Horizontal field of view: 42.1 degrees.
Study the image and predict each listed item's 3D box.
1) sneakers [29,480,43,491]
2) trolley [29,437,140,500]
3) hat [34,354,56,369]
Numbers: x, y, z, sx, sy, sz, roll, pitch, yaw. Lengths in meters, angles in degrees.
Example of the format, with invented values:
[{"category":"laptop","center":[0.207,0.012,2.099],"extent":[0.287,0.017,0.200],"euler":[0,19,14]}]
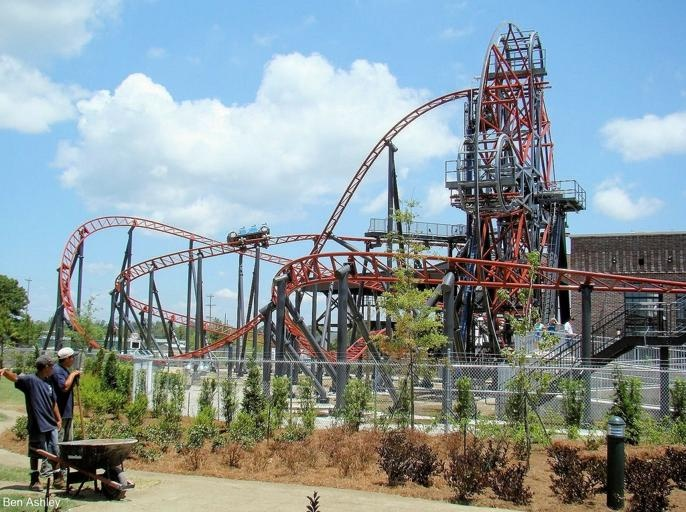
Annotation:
[{"category":"sneakers","center":[-5.933,4.362,17.033],"extent":[0.333,0.249,0.114],"euler":[-8,-13,28]},{"category":"trolley","center":[-5.082,4.126,17.588],"extent":[2.160,1.041,1.401],"euler":[0,-7,22]},{"category":"hat","center":[-5.903,2.043,17.560],"extent":[0.274,0.224,0.397],"euler":[-14,8,-4]}]
